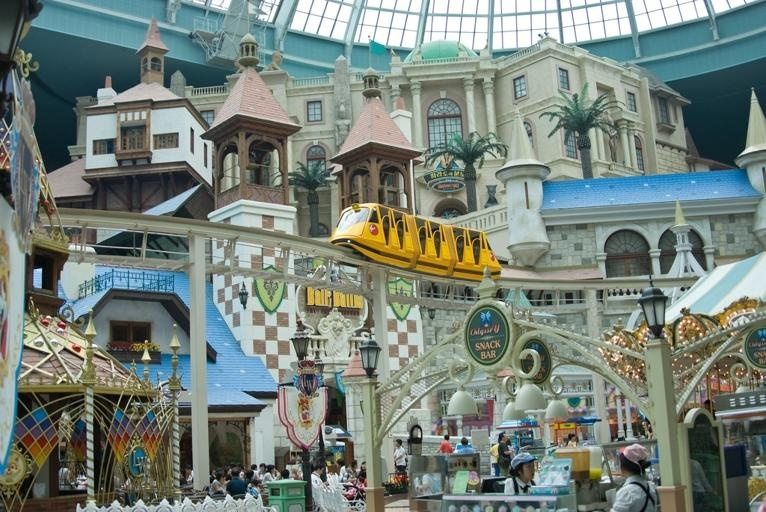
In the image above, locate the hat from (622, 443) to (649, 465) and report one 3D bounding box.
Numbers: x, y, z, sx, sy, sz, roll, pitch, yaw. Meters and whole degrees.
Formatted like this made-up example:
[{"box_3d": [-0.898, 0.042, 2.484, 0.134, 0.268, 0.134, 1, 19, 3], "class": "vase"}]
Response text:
[{"box_3d": [5.522, 4.282, 21.867, 0.441, 0.421, 0.475, -12, -18, 34], "class": "hat"}]
